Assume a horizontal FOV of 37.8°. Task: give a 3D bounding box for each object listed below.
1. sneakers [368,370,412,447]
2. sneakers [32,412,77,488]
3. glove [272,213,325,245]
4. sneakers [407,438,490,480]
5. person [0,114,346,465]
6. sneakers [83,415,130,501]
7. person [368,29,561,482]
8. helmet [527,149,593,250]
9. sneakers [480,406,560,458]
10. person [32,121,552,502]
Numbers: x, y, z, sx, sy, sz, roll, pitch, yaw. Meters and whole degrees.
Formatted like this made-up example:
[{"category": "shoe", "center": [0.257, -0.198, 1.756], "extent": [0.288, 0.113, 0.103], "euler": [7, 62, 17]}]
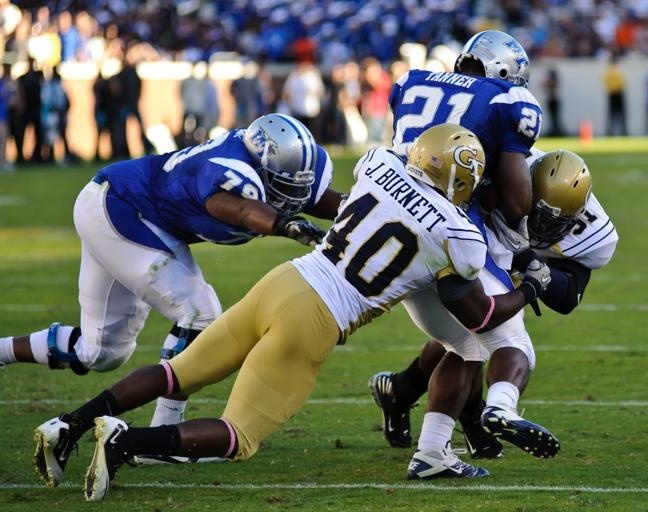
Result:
[{"category": "sneakers", "center": [0.340, 0.778, 4.791], "extent": [0.195, 0.413, 0.141], "euler": [-18, 1, 17]}, {"category": "sneakers", "center": [-1.153, 0.846, 4.141], "extent": [0.134, 0.372, 0.183], "euler": [33, 41, 31]}, {"category": "glove", "center": [-0.143, -0.149, 4.130], "extent": [0.185, 0.120, 0.246], "euler": [3, 3, -22]}, {"category": "sneakers", "center": [0.529, 0.942, 4.354], "extent": [0.450, 0.189, 0.143], "euler": [2, -5, -12]}, {"category": "person", "center": [-0.716, -0.073, 4.768], "extent": [1.861, 1.153, 1.182], "euler": [-1, 12, 0]}, {"category": "sneakers", "center": [-0.895, 0.834, 3.977], "extent": [0.167, 0.396, 0.132], "euler": [11, 9, -16]}, {"category": "person", "center": [0.679, -0.022, 4.697], "extent": [0.944, 2.183, 1.311], "euler": [3, -4, -20]}, {"category": "helmet", "center": [1.125, -0.253, 4.558], "extent": [0.242, 0.345, 0.308], "euler": [34, -16, 3]}, {"category": "sneakers", "center": [0.882, 0.816, 4.313], "extent": [0.368, 0.126, 0.179], "euler": [24, 23, 16]}, {"category": "person", "center": [-0.136, 0.182, 4.180], "extent": [2.404, 1.166, 1.160], "euler": [-24, 44, -27]}]
